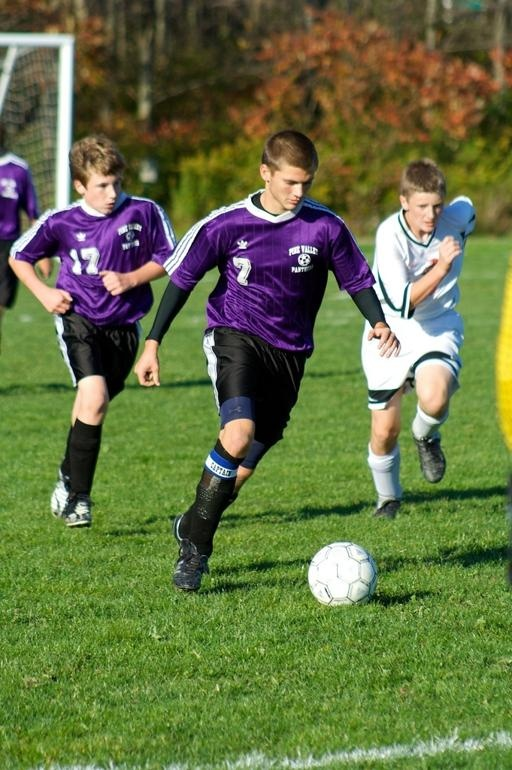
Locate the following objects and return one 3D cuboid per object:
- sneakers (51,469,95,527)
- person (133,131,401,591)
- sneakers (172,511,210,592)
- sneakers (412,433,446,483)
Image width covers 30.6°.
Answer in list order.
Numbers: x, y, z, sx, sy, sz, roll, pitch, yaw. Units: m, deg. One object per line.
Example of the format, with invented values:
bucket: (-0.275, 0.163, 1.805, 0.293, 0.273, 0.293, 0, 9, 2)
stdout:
sneakers: (-0.901, 0.566, 4.568, 0.172, 0.226, 0.368, -4, 7, -17)
person: (0.047, -0.112, 3.664, 1.013, 1.747, 0.547, -3, 8, -9)
sneakers: (-0.277, 0.636, 3.578, 0.111, 0.120, 0.297, 15, 38, -26)
sneakers: (0.915, 0.403, 4.795, 0.118, 0.307, 0.141, -13, 18, 13)
